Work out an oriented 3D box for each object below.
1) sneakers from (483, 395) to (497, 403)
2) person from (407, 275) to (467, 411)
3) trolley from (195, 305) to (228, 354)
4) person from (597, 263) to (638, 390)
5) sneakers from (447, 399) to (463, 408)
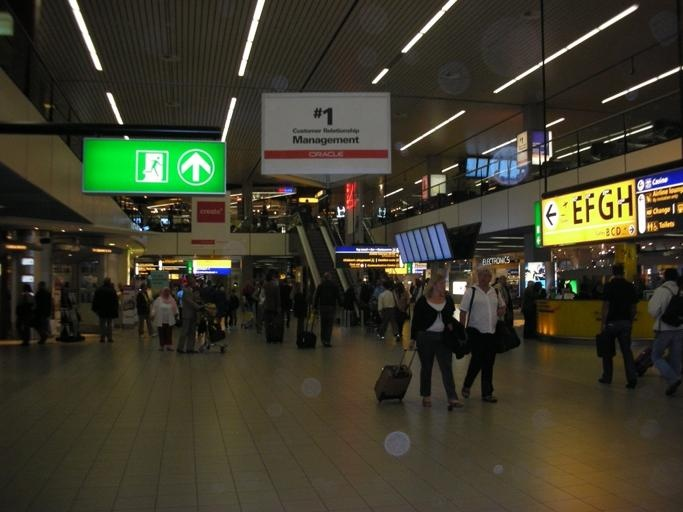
[{"bbox_3d":[2.139,2.031,7.731,0.214,0.087,0.194,-1,-3,14],"label":"sneakers"},{"bbox_3d":[1.326,1.162,7.561,0.649,1.813,0.593,-1,-3,8],"label":"person"},{"bbox_3d":[-3.377,1.865,14.370,0.732,1.265,2.583,0,-3,-13],"label":"trolley"},{"bbox_3d":[4.518,1.116,8.833,0.590,1.967,0.488,-2,-3,30],"label":"person"},{"bbox_3d":[1.550,1.996,7.290,0.207,0.087,0.084,-5,3,18],"label":"sneakers"}]
